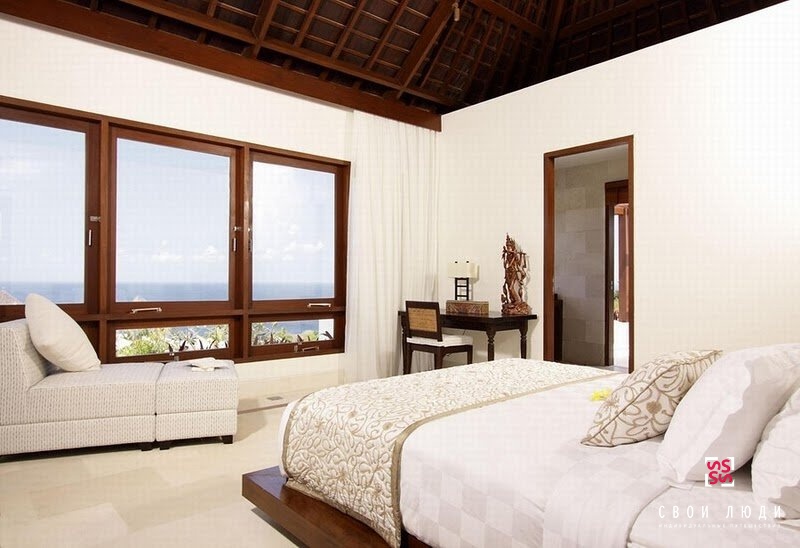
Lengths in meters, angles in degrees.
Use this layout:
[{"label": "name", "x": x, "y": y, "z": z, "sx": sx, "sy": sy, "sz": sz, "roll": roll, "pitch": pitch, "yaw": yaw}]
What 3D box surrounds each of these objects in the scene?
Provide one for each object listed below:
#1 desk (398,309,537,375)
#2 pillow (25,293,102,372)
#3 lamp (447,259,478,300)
[{"label": "desk", "x": 0.901, "y": 0.815, "z": 5.662, "sx": 0.612, "sy": 0.551, "sz": 1.272, "roll": 2, "pitch": -4, "yaw": -41}, {"label": "pillow", "x": -2.457, "y": 0.460, "z": 4.074, "sx": 0.526, "sy": 0.365, "sz": 0.952, "roll": -8, "pitch": 17, "yaw": -25}, {"label": "lamp", "x": 0.738, "y": 0.080, "z": 6.196, "sx": 0.321, "sy": 0.455, "sz": 0.419, "roll": 3, "pitch": 6, "yaw": 12}]
